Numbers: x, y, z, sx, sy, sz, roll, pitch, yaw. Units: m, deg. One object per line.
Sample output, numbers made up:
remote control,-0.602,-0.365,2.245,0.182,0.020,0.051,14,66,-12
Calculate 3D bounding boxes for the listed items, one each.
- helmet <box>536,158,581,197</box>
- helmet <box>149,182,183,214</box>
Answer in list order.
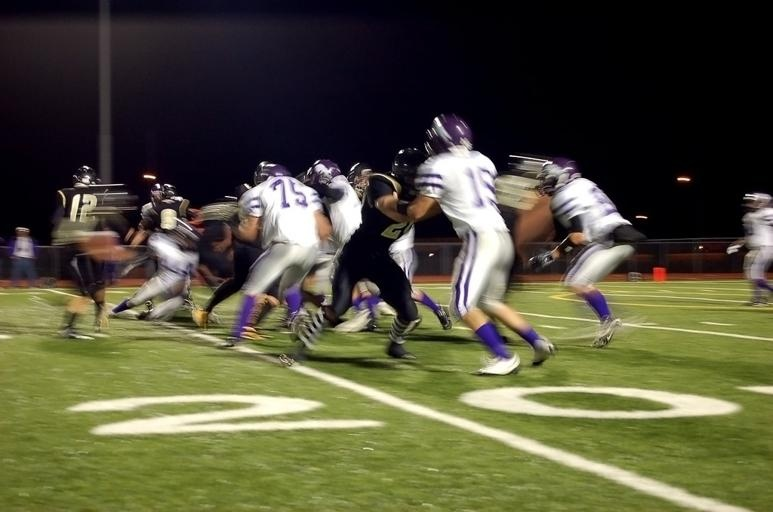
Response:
helmet,2.024,-0.952,8.024,0.449,0.419,0.544,-14,24,-36
helmet,-3.490,-0.954,10.255,0.489,0.472,0.508,6,-14,0
